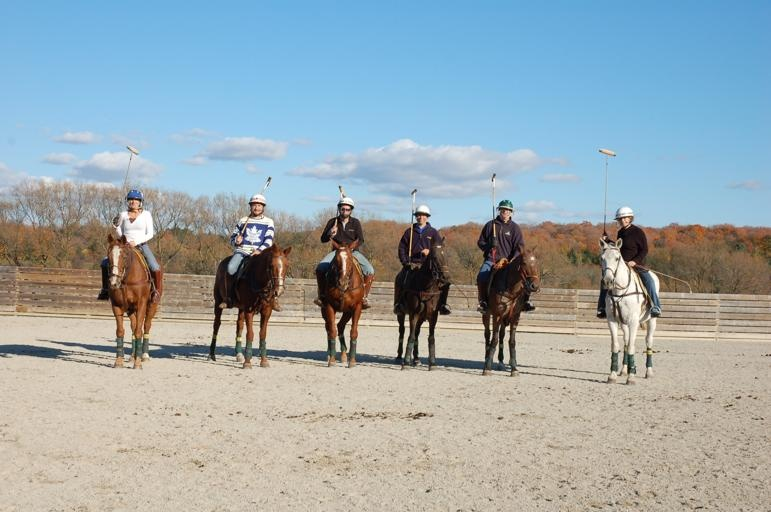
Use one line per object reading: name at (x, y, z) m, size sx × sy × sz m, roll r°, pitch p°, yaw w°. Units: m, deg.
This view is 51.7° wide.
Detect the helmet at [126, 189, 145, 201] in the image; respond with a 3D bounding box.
helmet at (-6.373, -1.527, 20.229) m, size 0.394 × 0.271 × 0.340 m, roll -5°, pitch 12°, yaw -24°

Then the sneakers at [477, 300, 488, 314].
sneakers at (2.416, 1.296, 19.841) m, size 0.201 × 0.298 × 0.285 m, roll 0°, pitch 2°, yaw 4°

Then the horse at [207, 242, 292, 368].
horse at (-3.478, 1.275, 20.312) m, size 2.858 × 3.370 × 0.794 m, roll 10°, pitch 15°, yaw 43°

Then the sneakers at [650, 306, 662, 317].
sneakers at (6.573, 1.356, 19.347) m, size 0.209 × 0.176 × 0.342 m, roll 1°, pitch 5°, yaw 9°

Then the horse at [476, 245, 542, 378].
horse at (3.001, 1.397, 19.659) m, size 1.136 × 3.294 × 1.870 m, roll -1°, pitch 11°, yaw -6°

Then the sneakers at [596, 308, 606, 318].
sneakers at (5.452, 1.472, 20.149) m, size 0.136 × 0.155 × 0.416 m, roll 0°, pitch -5°, yaw 2°

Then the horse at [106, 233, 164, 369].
horse at (-6.267, 1.097, 19.667) m, size 0.955 × 3.558 × 1.786 m, roll 0°, pitch 10°, yaw -2°

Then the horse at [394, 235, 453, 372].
horse at (0.909, 1.289, 20.611) m, size 1.291 × 3.653 × 2.298 m, roll 0°, pitch 11°, yaw -3°

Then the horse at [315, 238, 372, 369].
horse at (-1.034, 1.304, 20.408) m, size 1.262 × 3.372 × 1.447 m, roll -7°, pitch 13°, yaw -34°
